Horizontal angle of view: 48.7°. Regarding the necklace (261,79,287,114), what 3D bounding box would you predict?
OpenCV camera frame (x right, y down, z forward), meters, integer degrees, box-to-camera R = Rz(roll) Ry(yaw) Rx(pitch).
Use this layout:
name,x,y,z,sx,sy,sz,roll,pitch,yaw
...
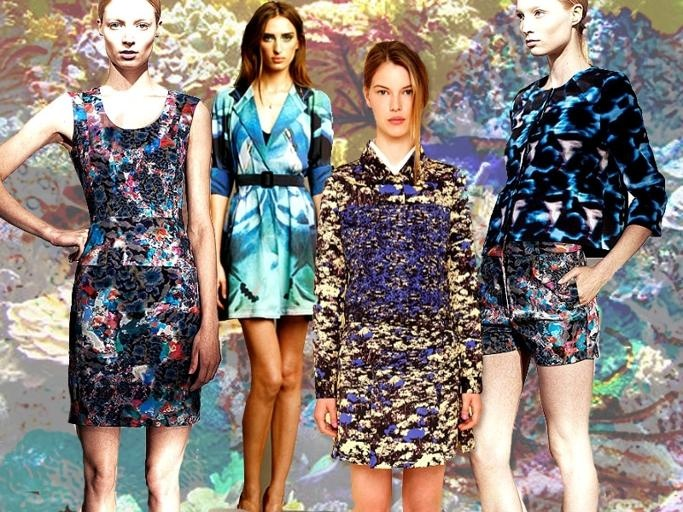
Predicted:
name,x,y,z,sx,sy,sz,roll,pitch,yaw
necklace,-0.330,-0.760,3.635,0.180,0.168,0.045,0,3,-4
